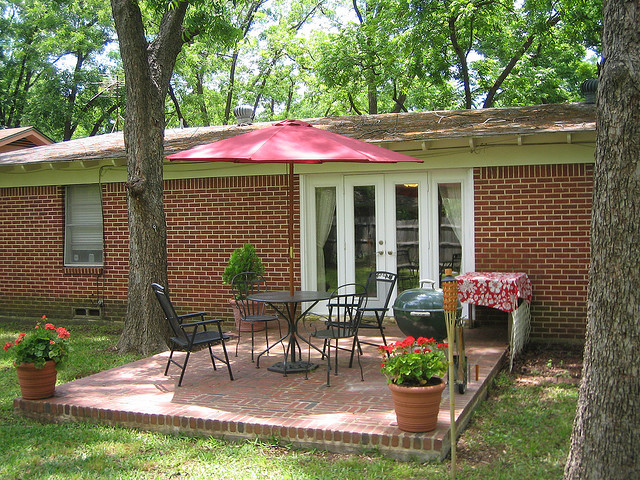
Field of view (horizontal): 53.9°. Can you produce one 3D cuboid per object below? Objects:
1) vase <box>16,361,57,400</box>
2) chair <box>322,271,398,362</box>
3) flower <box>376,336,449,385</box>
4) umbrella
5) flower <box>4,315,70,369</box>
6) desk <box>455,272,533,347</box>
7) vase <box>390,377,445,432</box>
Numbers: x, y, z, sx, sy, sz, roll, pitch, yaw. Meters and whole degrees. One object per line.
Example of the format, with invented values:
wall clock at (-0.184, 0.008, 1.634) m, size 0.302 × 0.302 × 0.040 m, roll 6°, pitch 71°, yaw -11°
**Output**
vase at (-3.319, 1.622, 7.427) m, size 0.447 × 0.345 × 0.438 m, roll 0°, pitch -5°, yaw -4°
chair at (0.366, 1.203, 8.280) m, size 0.743 × 1.076 × 0.753 m, roll 11°, pitch 2°, yaw -4°
flower at (0.974, 1.202, 6.326) m, size 0.535 × 0.361 × 0.528 m, roll -1°, pitch 0°, yaw 23°
umbrella at (-0.376, -0.204, 8.340) m, size 2.590 × 1.769 × 2.750 m, roll 1°, pitch 4°, yaw 17°
flower at (-3.994, 1.450, 8.960) m, size 0.871 × 0.633 × 0.865 m, roll 1°, pitch 2°, yaw 1°
desk at (2.597, 0.758, 9.385) m, size 0.804 × 0.579 × 1.701 m, roll 4°, pitch 9°, yaw 27°
vase at (0.976, 1.632, 6.305) m, size 0.491 × 0.353 × 0.487 m, roll 0°, pitch -6°, yaw 1°
